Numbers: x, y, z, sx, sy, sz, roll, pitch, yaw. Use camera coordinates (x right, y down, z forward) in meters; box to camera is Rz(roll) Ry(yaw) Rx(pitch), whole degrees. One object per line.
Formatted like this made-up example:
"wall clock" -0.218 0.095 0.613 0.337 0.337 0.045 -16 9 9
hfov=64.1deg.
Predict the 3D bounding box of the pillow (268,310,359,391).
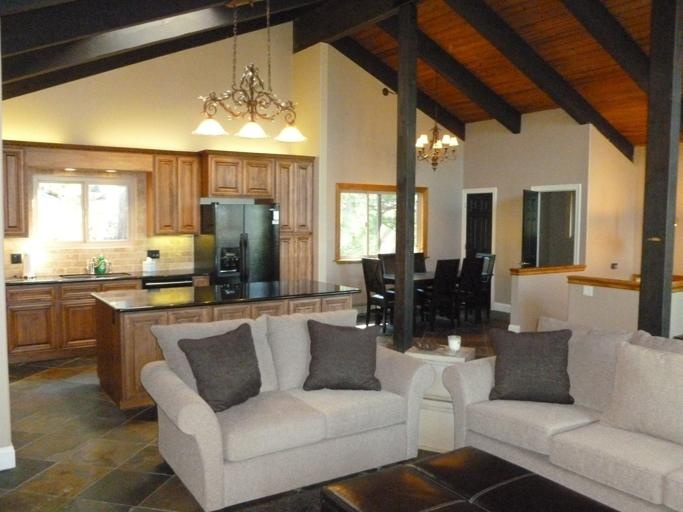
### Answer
"pillow" -0.304 0.734 4.402 0.699 0.581 0.194 -7 -3 -25

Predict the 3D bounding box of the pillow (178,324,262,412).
"pillow" -0.943 0.860 4.146 0.587 0.452 0.306 -12 4 -44

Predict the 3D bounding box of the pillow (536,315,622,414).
"pillow" 1.825 0.860 4.212 0.251 0.460 0.697 -2 2 -32

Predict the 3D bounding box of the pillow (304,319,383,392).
"pillow" -0.001 0.840 4.518 0.618 0.526 0.195 1 -33 -1

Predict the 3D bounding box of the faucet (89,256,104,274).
"faucet" -3.403 0.118 7.594 0.206 0.246 0.234 -2 2 -21

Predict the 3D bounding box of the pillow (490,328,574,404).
"pillow" 1.514 0.875 4.279 0.599 0.497 0.189 1 -17 9

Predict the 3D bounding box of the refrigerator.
"refrigerator" -1.543 -0.248 8.147 1.044 1.227 0.619 -2 3 -32
